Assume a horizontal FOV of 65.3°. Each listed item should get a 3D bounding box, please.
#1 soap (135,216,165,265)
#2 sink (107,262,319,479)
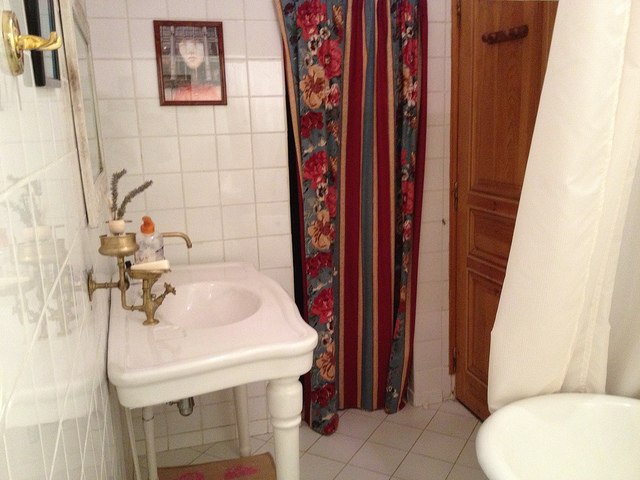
[{"bbox_3d":[-0.606,0.002,1.774,0.097,0.183,0.105,-2,12,-3],"label":"soap"},{"bbox_3d":[-0.413,0.489,1.836,0.629,0.533,0.757,-7,14,-22],"label":"sink"}]
